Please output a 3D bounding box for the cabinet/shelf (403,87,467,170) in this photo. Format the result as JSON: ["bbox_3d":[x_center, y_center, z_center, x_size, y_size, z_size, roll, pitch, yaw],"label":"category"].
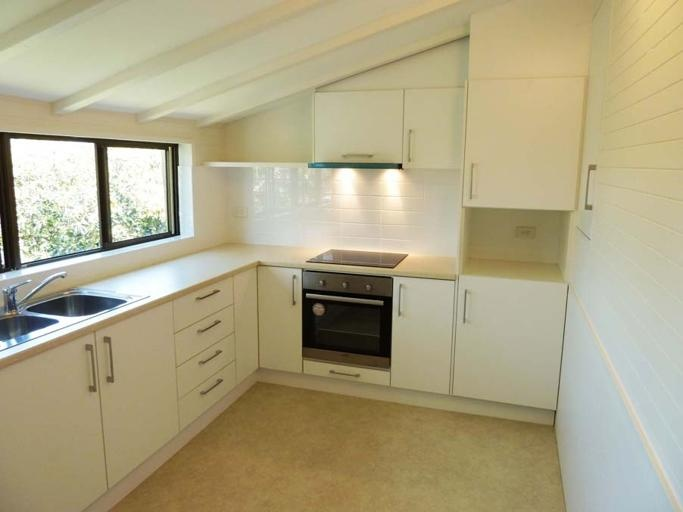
[{"bbox_3d":[0.692,-0.951,3.804,0.452,0.602,0.324,1,26,7],"label":"cabinet/shelf"}]

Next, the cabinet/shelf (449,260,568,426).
[{"bbox_3d":[1.177,0.557,3.762,0.888,1.205,0.909,3,10,21],"label":"cabinet/shelf"}]

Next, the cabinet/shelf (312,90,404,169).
[{"bbox_3d":[0.236,-0.990,3.986,0.826,0.578,0.481,7,13,31],"label":"cabinet/shelf"}]

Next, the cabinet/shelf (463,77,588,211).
[{"bbox_3d":[1.220,-0.751,3.253,0.798,0.935,0.506,3,15,16],"label":"cabinet/shelf"}]

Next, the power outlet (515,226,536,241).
[{"bbox_3d":[1.419,-0.175,3.879,0.147,0.098,0.034,2,7,16],"label":"power outlet"}]

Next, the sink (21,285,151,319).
[{"bbox_3d":[-1.587,0.254,2.950,0.260,0.136,0.329,11,13,28],"label":"sink"}]
